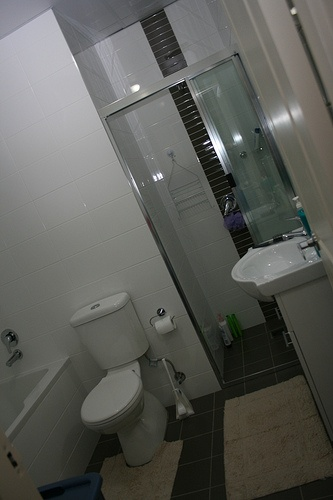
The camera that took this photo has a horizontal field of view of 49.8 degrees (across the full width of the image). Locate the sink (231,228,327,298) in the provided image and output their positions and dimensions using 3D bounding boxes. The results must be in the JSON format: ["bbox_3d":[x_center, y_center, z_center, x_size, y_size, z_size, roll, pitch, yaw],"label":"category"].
[{"bbox_3d":[0.497,0.066,1.662,0.402,0.270,0.482,2,12,9],"label":"sink"}]

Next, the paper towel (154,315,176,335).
[{"bbox_3d":[-0.010,0.465,2.285,0.143,0.132,0.110,-29,-14,3],"label":"paper towel"}]

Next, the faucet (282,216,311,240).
[{"bbox_3d":[0.654,-0.112,1.804,0.112,0.166,0.051,1,48,27],"label":"faucet"}]

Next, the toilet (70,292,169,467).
[{"bbox_3d":[-0.291,0.807,2.167,0.369,0.832,0.697,-20,15,6],"label":"toilet"}]
